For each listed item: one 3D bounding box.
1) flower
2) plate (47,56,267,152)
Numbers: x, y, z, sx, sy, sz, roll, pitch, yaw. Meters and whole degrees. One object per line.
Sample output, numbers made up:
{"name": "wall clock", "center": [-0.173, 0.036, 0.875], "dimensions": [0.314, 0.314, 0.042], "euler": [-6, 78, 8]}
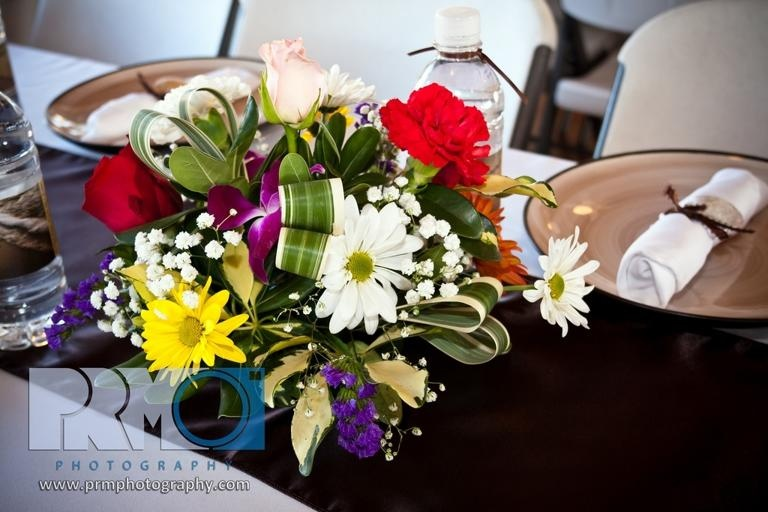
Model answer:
{"name": "flower", "center": [-0.097, -0.021, 0.750], "dimensions": [0.693, 0.458, 0.353], "euler": [12, 26, 11]}
{"name": "plate", "center": [-0.482, -0.286, 1.340], "dimensions": [0.301, 0.044, 0.302], "euler": [11, -2, -23]}
